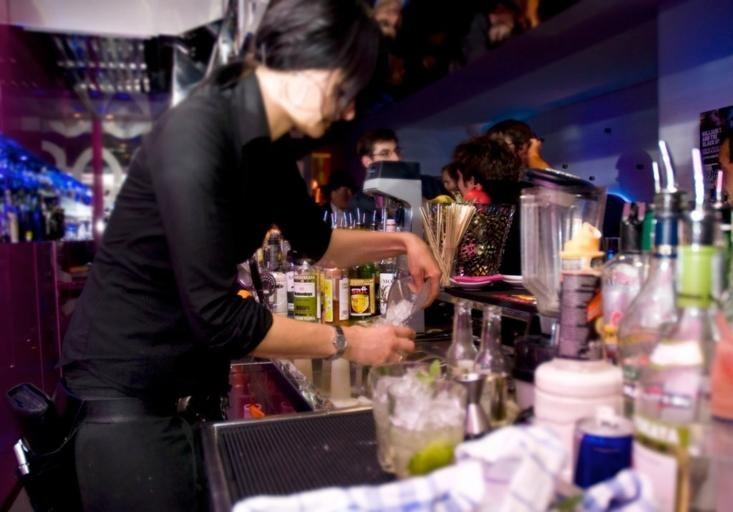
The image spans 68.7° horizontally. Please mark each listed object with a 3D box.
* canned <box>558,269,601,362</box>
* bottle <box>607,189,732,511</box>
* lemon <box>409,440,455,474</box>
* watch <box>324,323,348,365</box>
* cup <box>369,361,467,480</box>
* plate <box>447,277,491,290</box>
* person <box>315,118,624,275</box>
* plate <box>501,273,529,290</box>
[{"bbox_3d":[0.425,0.116,1.058,0.087,0.167,0.073,2,2,10],"label":"canned"},{"bbox_3d":[0.544,0.166,0.975,0.121,0.549,0.230,1,2,-4],"label":"bottle"},{"bbox_3d":[0.133,0.372,1.032,0.093,0.031,0.052,-17,10,-15],"label":"lemon"},{"bbox_3d":[-0.072,0.235,1.449,0.055,0.091,0.087,5,-6,-25],"label":"watch"},{"bbox_3d":[0.102,0.334,1.087,0.196,0.234,0.146,2,2,17],"label":"cup"},{"bbox_3d":[0.420,0.111,2.192,0.180,0.054,0.118,2,2,22],"label":"plate"},{"bbox_3d":[0.876,-0.598,3.954,2.440,1.029,0.673,3,0,-5],"label":"person"},{"bbox_3d":[0.620,0.109,2.238,0.077,0.051,0.160,1,2,-17],"label":"plate"}]
